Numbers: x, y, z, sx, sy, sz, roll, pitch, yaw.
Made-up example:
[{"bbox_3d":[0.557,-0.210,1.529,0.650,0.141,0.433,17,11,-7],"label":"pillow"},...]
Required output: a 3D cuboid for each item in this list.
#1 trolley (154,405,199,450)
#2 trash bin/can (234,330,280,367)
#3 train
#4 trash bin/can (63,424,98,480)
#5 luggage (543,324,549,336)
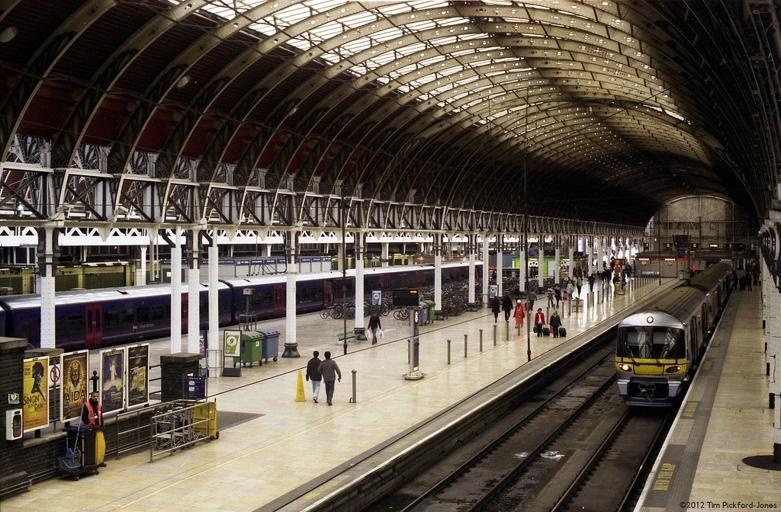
[{"bbox_3d":[-7.623,6.032,22.285,1.265,1.422,2.029,-1,1,17],"label":"trolley"},{"bbox_3d":[-7.547,5.275,36.135,0.737,1.409,2.176,0,1,18],"label":"trash bin/can"},{"bbox_3d":[17.825,4.475,39.895,4.128,5.462,33.228,-1,4,24],"label":"train"},{"bbox_3d":[-9.673,6.133,20.106,0.898,1.407,1.047,-3,-13,2],"label":"trash bin/can"},{"bbox_3d":[11.393,5.577,47.623,0.638,0.652,0.488,-2,-8,16],"label":"luggage"}]
